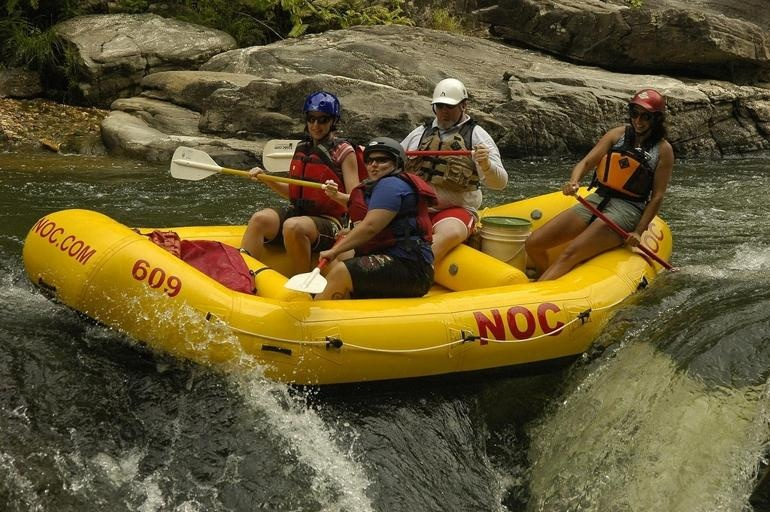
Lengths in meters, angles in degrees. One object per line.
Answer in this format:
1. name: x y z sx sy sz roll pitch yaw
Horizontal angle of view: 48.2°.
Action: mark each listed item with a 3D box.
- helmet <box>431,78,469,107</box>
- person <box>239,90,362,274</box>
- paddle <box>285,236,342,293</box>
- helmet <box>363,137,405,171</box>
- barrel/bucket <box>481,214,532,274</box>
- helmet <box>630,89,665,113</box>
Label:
1. helmet: 0.649 -1.657 8.683 0.314 0.259 0.295 9 24 3
2. person: -0.901 -0.565 8.296 1.436 1.957 1.045 0 11 -24
3. paddle: -0.622 0.152 7.530 0.369 0.065 0.630 9 22 11
4. helmet: 0.063 -0.912 7.823 0.372 0.257 0.285 12 -10 3
5. barrel/bucket: 1.185 -0.069 8.889 0.542 0.475 0.518 -1 -2 0
6. helmet: 2.591 -1.537 8.493 0.305 0.155 0.217 21 11 -27
